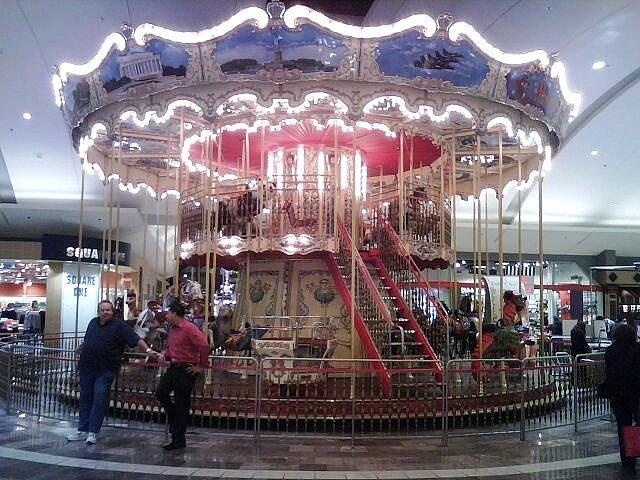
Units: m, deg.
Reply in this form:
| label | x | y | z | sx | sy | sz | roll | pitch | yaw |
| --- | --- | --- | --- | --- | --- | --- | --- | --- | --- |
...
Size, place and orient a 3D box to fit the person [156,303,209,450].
| label | x | y | z | sx | sy | sz | roll | pitch | yaw |
| --- | --- | --- | --- | --- | --- | --- | --- | --- | --- |
| person | -2.285 | 2.243 | 9.481 | 0.819 | 2.397 | 0.432 | 0 | -10 | 1 |

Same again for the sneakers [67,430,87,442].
| label | x | y | z | sx | sy | sz | roll | pitch | yaw |
| --- | --- | --- | --- | --- | --- | --- | --- | --- | --- |
| sneakers | -4.104 | 3.319 | 9.612 | 0.358 | 0.174 | 0.148 | 9 | 3 | -19 |

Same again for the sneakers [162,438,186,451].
| label | x | y | z | sx | sy | sz | roll | pitch | yaw |
| --- | --- | --- | --- | --- | --- | --- | --- | --- | --- |
| sneakers | -2.368 | 3.348 | 9.212 | 0.344 | 0.267 | 0.148 | 6 | -8 | -5 |

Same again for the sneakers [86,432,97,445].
| label | x | y | z | sx | sy | sz | roll | pitch | yaw |
| --- | --- | --- | --- | --- | --- | --- | --- | --- | --- |
| sneakers | -3.825 | 3.312 | 9.409 | 0.104 | 0.106 | 0.234 | 1 | -10 | -8 |
